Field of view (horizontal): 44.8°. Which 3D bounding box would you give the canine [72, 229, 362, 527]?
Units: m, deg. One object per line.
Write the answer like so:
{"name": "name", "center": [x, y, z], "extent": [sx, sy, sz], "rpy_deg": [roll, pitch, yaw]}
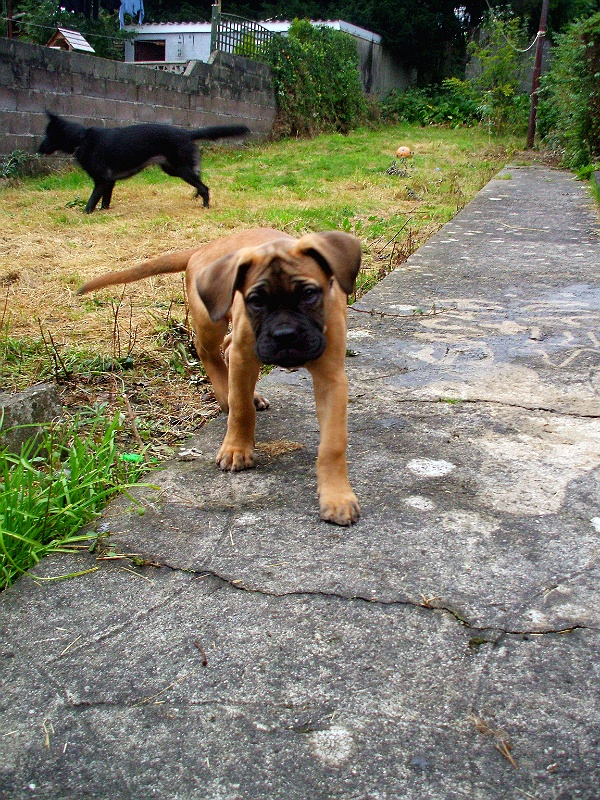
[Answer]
{"name": "canine", "center": [-0.242, -0.185, 2.361], "extent": [0.661, 0.793, 1.397], "rpy_deg": [-5, 19, -16]}
